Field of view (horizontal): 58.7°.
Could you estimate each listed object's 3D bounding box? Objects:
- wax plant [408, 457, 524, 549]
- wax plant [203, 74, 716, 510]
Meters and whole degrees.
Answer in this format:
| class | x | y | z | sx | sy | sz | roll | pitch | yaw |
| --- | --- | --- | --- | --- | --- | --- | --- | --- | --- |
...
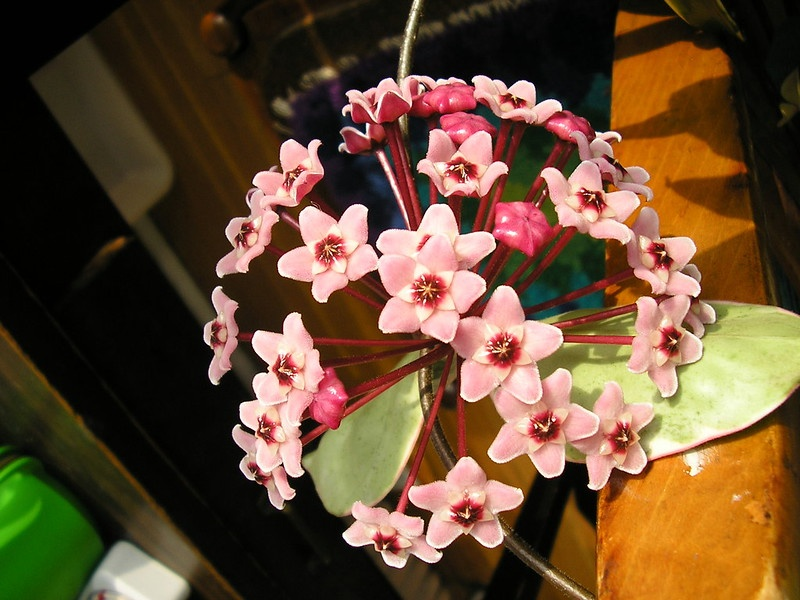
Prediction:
| class | x | y | z | sx | sy | sz | roll | pitch | yaw |
| --- | --- | --- | --- | --- | --- | --- | --- | --- | --- |
| wax plant | 0.137 | 0.398 | 1.295 | 0.172 | 0.048 | 0.186 | -51 | 10 | 18 |
| wax plant | 0.097 | -0.050 | 1.544 | 0.944 | 0.831 | 0.281 | -57 | -10 | -6 |
